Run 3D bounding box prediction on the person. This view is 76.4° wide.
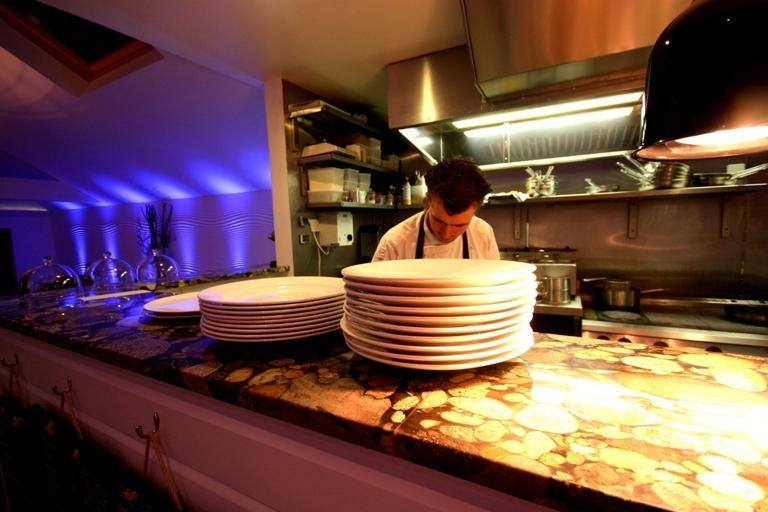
[{"bbox_3d":[0.311,-0.286,3.208,0.780,0.689,0.568,2,9,4],"label":"person"}]

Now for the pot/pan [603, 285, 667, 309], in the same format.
[{"bbox_3d":[1.960,0.298,3.861,0.412,0.142,0.245,-1,-2,23],"label":"pot/pan"}]

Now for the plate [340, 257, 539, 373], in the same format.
[{"bbox_3d":[0.239,0.262,2.080,0.642,0.242,0.603,0,-1,-1],"label":"plate"}]

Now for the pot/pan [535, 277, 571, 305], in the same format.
[{"bbox_3d":[1.266,0.260,3.765,0.249,0.177,0.258,0,-3,-2],"label":"pot/pan"}]

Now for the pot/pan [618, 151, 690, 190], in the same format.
[{"bbox_3d":[1.910,-0.612,3.483,0.573,0.220,0.419,4,5,33],"label":"pot/pan"}]

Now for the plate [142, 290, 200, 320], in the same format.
[{"bbox_3d":[-1.121,0.269,2.681,0.324,0.101,0.262,1,8,1],"label":"plate"}]

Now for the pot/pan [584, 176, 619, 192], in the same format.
[{"bbox_3d":[1.788,-0.579,4.076,0.207,0.079,0.163,-1,1,21],"label":"pot/pan"}]

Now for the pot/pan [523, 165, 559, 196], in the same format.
[{"bbox_3d":[1.328,-0.651,4.250,0.359,0.306,0.271,-5,5,-32],"label":"pot/pan"}]

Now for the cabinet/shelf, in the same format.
[{"bbox_3d":[-0.378,-0.948,4.714,0.491,0.731,1.524,-4,9,17],"label":"cabinet/shelf"}]
